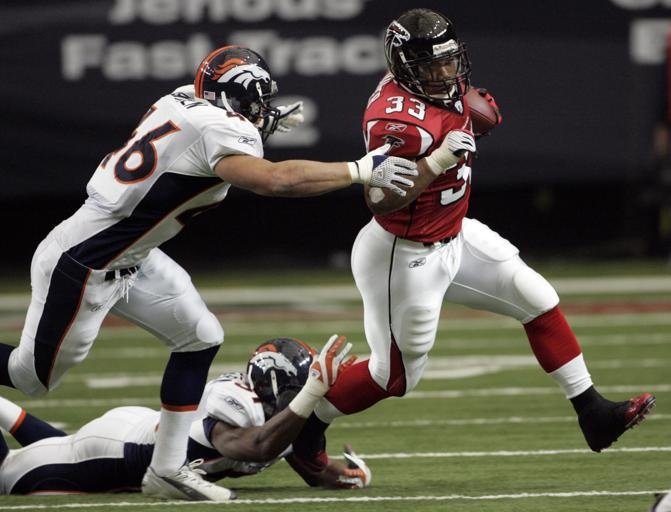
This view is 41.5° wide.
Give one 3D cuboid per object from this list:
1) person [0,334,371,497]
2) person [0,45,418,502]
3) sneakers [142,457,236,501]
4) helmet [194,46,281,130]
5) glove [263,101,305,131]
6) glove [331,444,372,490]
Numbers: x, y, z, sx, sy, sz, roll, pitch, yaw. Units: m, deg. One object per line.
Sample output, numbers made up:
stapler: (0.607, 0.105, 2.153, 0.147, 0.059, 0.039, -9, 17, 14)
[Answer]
person: (-0.529, 0.730, 3.969, 1.848, 0.471, 0.609, -1, -2, 4)
person: (-0.653, 0.078, 3.640, 1.596, 1.892, 0.439, -1, 8, 1)
sneakers: (-0.599, 0.952, 3.719, 0.421, 0.127, 0.122, 0, -11, 19)
helmet: (-0.425, -0.709, 3.757, 0.413, 0.315, 0.328, -6, 14, -41)
glove: (-0.218, -0.598, 3.844, 0.223, 0.053, 0.114, 1, -35, -17)
glove: (0.088, 0.965, 3.974, 0.132, 0.219, 0.083, 13, -26, 17)
